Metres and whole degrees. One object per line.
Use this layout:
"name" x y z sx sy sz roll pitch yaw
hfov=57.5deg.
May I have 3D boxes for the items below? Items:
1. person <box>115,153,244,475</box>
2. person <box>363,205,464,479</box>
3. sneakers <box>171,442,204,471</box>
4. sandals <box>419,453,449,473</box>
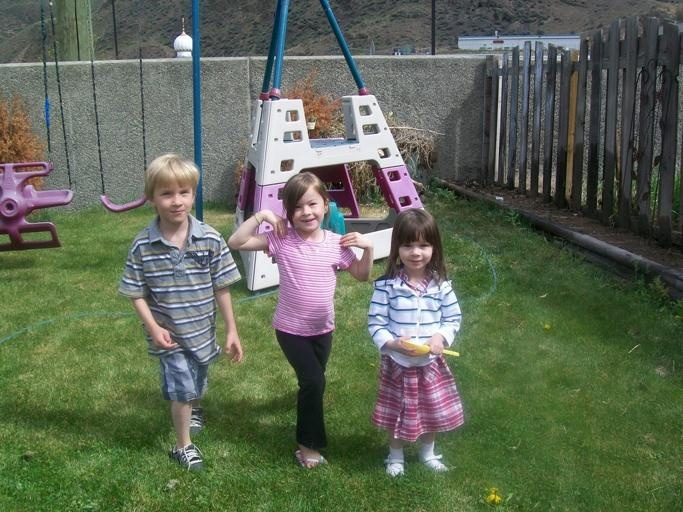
"person" -0.820 0.289 3.293 0.476 1.587 0.481 9 21 28
"person" 0.387 0.471 3.243 0.478 1.358 0.474 -1 18 3
"sneakers" -0.829 1.078 3.355 0.078 0.101 0.218 -1 6 -40
"sandals" 0.503 1.117 3.306 0.067 0.057 0.133 -1 1 -23
